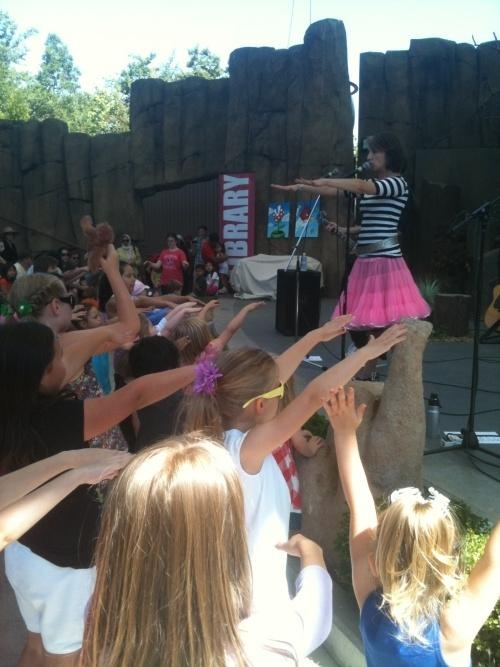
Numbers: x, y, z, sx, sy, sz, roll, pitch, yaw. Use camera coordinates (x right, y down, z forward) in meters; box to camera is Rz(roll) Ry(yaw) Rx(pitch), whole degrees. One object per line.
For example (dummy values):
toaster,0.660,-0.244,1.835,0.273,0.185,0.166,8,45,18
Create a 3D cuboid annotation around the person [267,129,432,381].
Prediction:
person,0.868,-0.608,4.274,1.284,1.990,0.913,2,3,-9
